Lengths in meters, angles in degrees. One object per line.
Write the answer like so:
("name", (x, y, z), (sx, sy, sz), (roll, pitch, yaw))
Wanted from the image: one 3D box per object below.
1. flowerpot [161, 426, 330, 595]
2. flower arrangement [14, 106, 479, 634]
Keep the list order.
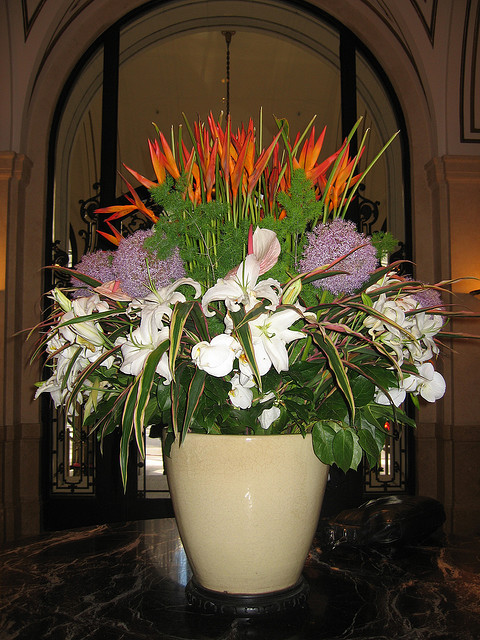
("flowerpot", (0.003, 0.289, 0.885), (0.281, 0.221, 0.262), (3, -10, -21))
("flower arrangement", (0.020, 0.048, 1.026), (0.794, 0.720, 0.753), (0, -14, 0))
